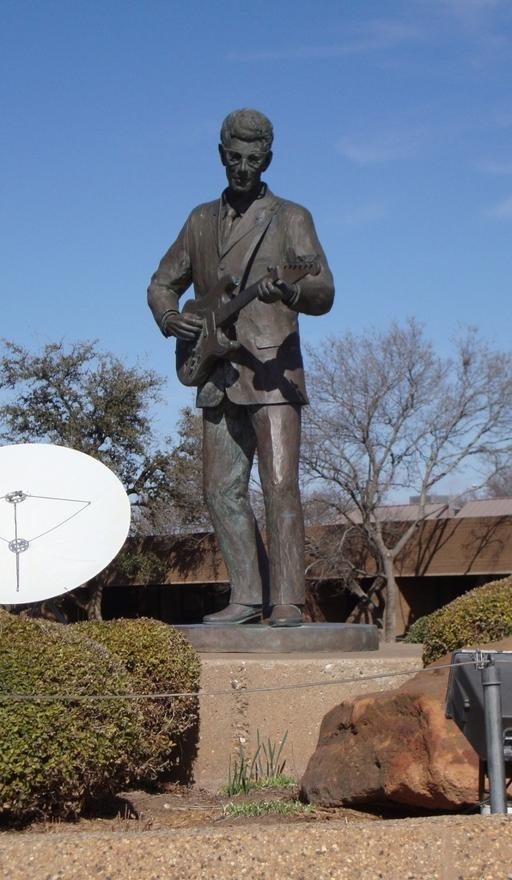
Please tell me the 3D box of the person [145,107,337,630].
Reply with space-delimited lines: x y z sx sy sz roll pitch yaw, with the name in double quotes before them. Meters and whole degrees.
"person" -0.030 -0.407 6.787 0.861 3.011 1.525 -6 -1 -28
